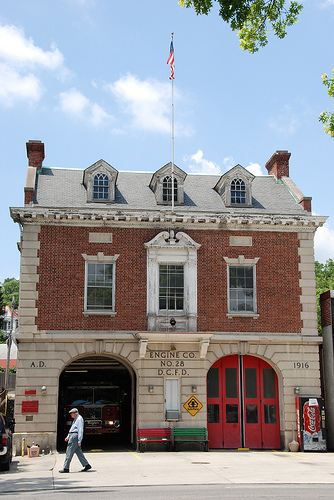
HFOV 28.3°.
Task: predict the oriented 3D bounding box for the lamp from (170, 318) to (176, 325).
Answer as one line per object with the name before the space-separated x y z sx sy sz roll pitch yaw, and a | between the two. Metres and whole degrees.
lamp | 0.219 2.596 24.166 0.178 0.217 0.212 3 22 -2

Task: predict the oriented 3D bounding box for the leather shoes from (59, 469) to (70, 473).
leather shoes | -2.536 5.433 16.259 0.257 0.124 0.186 -1 -10 4

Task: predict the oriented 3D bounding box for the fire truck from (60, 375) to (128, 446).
fire truck | -3.307 7.271 29.817 2.597 2.425 4.476 1 -14 -9
